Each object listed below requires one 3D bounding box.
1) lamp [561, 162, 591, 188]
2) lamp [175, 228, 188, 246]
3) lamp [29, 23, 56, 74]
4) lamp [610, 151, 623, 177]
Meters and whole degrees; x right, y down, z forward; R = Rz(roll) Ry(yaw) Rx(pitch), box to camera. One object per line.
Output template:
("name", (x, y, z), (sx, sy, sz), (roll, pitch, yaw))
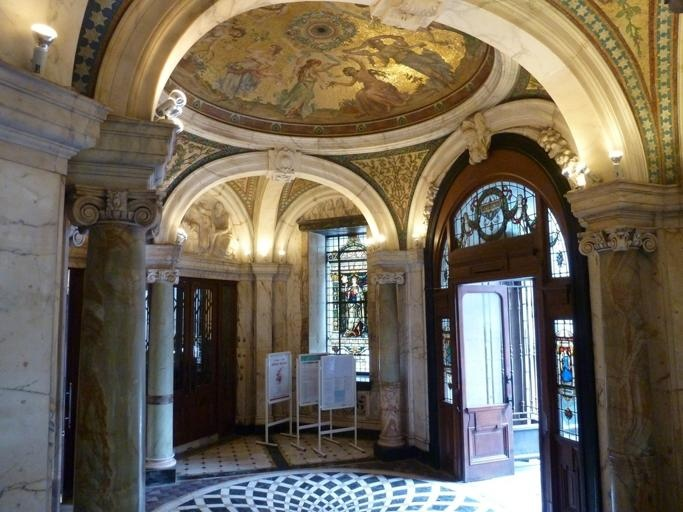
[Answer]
("lamp", (2.423, -0.829, 5.968), (0.219, 0.293, 0.249), (8, -12, -5))
("lamp", (-2.711, -0.337, 9.725), (0.127, 0.323, 0.936), (0, -2, -13))
("lamp", (-1.993, -1.377, 3.822), (0.142, 0.328, 0.133), (0, -2, -29))
("lamp", (2.618, -0.868, 5.461), (0.118, 0.233, 0.332), (-1, -2, 25))
